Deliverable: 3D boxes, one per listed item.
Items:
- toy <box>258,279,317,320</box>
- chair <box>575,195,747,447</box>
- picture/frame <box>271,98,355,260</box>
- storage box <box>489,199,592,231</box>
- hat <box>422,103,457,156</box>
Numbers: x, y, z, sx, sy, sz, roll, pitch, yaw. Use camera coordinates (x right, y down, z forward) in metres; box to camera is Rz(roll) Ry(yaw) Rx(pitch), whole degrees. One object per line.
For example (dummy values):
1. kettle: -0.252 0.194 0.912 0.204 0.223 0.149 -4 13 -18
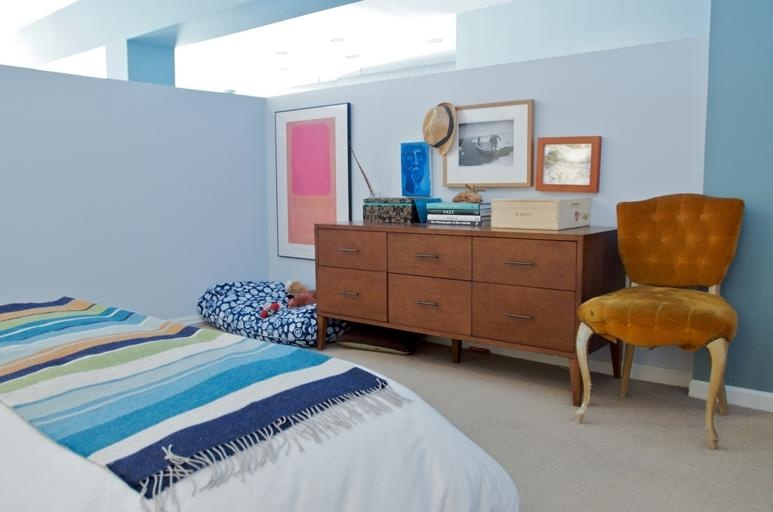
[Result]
1. toy: -0.859 0.381 4.578 0.288 0.157 0.387 4 10 43
2. chair: 1.606 0.306 3.050 0.769 1.324 0.901 2 9 34
3. picture/frame: -0.702 -0.674 4.847 0.889 1.427 0.127 2 9 33
4. storage box: 1.059 -0.274 3.362 0.347 0.144 0.348 -5 6 -39
5. hat: 0.411 -0.984 4.073 0.298 0.386 0.155 18 14 42
